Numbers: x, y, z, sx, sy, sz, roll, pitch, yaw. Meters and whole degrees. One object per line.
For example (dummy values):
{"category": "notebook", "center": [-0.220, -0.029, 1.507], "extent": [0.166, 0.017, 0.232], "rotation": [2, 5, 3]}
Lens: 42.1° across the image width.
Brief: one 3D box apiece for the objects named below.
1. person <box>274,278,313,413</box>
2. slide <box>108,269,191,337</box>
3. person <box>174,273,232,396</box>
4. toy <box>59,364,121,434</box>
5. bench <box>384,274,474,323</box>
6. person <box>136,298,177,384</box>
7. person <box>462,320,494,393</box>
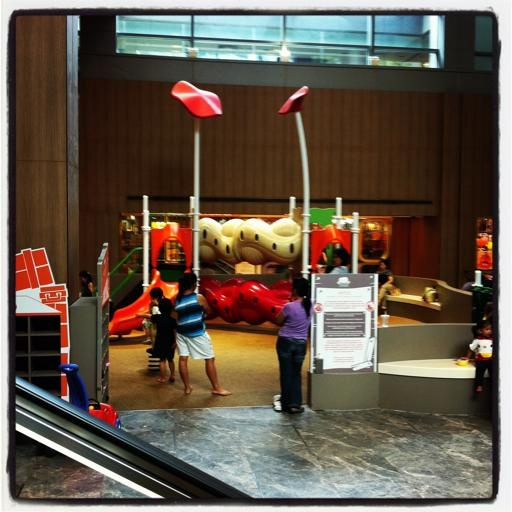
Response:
{"category": "person", "center": [0.358, 0.885, 6.668], "extent": [0.357, 1.164, 0.389], "rotation": [2, 1, 3]}
{"category": "slide", "center": [-2.029, 0.734, 10.665], "extent": [1.569, 0.788, 0.446], "rotation": [-8, 28, -38]}
{"category": "person", "center": [-0.605, 0.837, 7.128], "extent": [0.559, 1.043, 0.742], "rotation": [2, 1, -4]}
{"category": "toy", "center": [-1.237, 1.069, 4.975], "extent": [0.317, 0.676, 0.942], "rotation": [2, 2, -5]}
{"category": "bench", "center": [3.029, 0.851, 11.802], "extent": [0.461, 0.638, 2.665], "rotation": [4, 4, -18]}
{"category": "person", "center": [-1.082, 0.960, 7.679], "extent": [0.301, 0.767, 0.876], "rotation": [2, 1, -7]}
{"category": "person", "center": [2.265, 1.040, 6.795], "extent": [0.243, 0.747, 0.380], "rotation": [2, 1, 17]}
